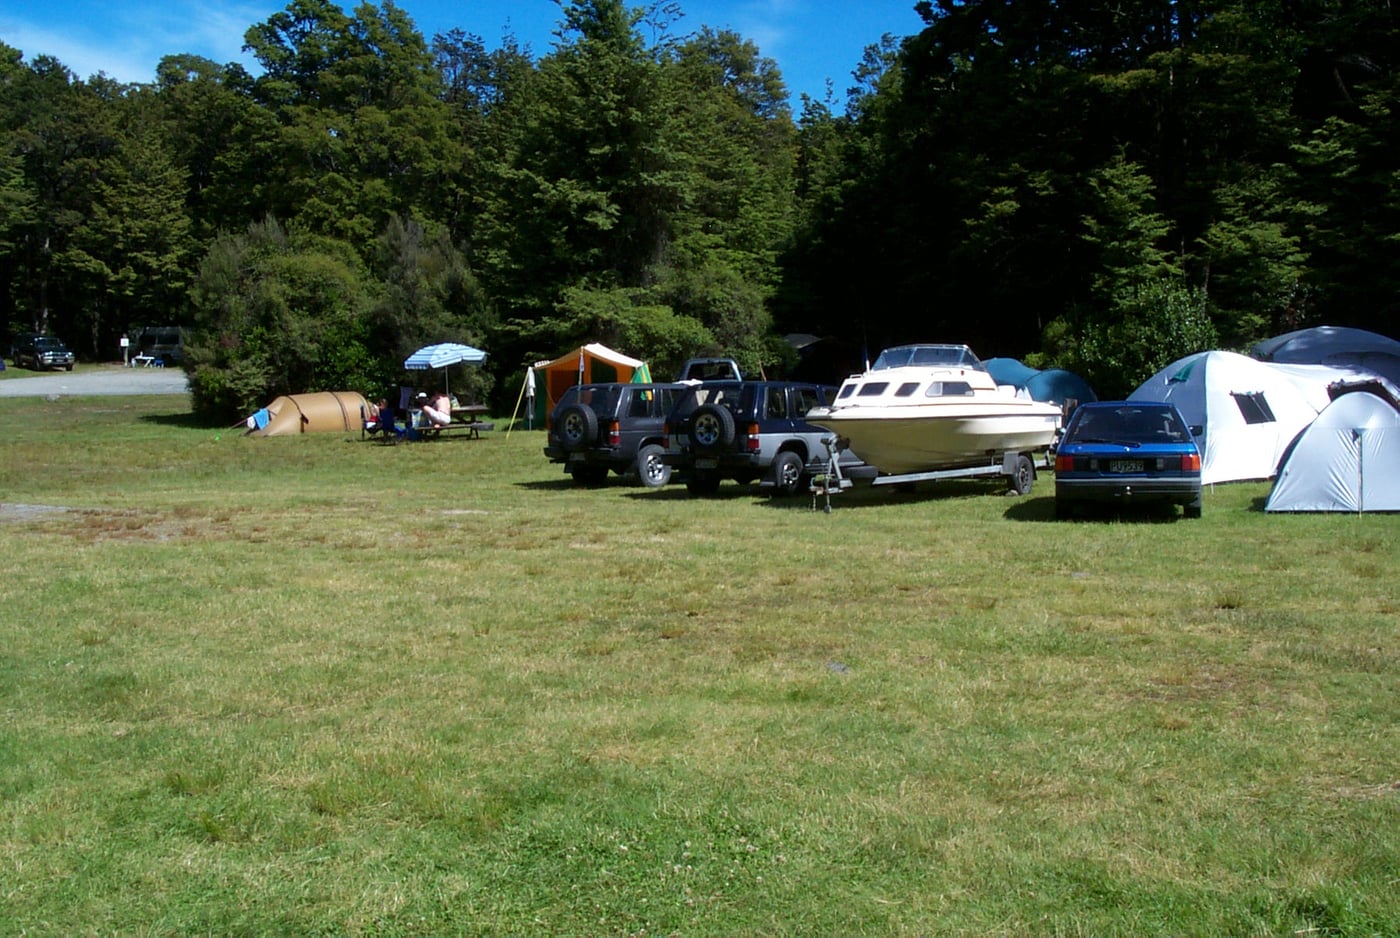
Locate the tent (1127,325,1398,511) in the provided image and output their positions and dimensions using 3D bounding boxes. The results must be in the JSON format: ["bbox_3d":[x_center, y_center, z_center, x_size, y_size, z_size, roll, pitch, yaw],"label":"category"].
[{"bbox_3d":[10.527,-0.921,26.076,3.940,1.485,2.733,-7,5,-21],"label":"tent"}]

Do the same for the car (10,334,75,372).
[{"bbox_3d":[-35.252,-6.287,74.513,3.658,1.540,1.744,5,8,45],"label":"car"}]

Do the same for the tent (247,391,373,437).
[{"bbox_3d":[-11.892,-1.769,42.680,2.166,1.167,4.014,5,6,31],"label":"tent"}]

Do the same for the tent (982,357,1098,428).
[{"bbox_3d":[7.957,-2.174,33.468,1.788,0.950,2.845,-27,27,-25],"label":"tent"}]

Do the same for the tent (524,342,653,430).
[{"bbox_3d":[-3.663,-2.983,42.181,2.983,2.081,3.040,-2,2,21],"label":"tent"}]

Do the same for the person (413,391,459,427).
[{"bbox_3d":[-7.554,-1.655,39.261,0.980,0.824,1.722,2,5,-5],"label":"person"}]

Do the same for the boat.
[{"bbox_3d":[4.154,-1.193,25.489,4.418,1.851,2.068,0,-2,-38],"label":"boat"}]
